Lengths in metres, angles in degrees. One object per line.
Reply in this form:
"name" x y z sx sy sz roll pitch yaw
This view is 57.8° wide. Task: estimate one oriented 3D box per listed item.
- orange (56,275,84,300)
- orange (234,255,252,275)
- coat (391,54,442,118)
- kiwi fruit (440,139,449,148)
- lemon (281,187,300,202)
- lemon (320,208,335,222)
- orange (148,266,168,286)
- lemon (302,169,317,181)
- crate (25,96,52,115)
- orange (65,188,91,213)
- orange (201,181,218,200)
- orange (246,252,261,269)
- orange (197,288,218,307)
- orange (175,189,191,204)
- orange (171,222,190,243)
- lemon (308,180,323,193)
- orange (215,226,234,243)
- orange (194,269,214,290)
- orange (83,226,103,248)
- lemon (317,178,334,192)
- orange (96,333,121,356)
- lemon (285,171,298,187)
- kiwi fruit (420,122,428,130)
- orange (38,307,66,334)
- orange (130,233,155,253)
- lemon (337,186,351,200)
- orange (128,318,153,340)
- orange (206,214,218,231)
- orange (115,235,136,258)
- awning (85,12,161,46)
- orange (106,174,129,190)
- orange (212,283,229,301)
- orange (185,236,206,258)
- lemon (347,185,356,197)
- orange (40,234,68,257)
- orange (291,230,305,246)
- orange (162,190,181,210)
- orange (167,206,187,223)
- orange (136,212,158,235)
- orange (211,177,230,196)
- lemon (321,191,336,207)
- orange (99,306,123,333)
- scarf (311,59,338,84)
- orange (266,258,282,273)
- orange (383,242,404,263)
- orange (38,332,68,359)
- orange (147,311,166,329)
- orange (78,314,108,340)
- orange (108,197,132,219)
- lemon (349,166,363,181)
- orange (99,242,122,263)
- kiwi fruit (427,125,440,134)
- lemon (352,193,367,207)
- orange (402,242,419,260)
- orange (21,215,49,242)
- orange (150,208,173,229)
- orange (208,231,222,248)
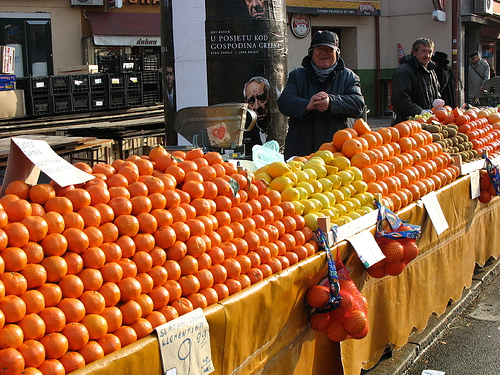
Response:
"orange" -0.705 0.391 1.791 0.074 0.113 0.084 -8 10 -14
"orange" -0.036 0.389 2.351 0.071 0.094 0.079 2 6 3
"coat" 2.233 -1.371 6.136 0.412 1.163 0.595 -3 16 -1
"kiwi fruit" 1.991 -0.456 4.629 0.067 0.046 0.078 4 10 1
"lemon" 0.255 0.044 2.881 0.085 0.089 0.073 -8 -5 7
"lemon" 0.505 0.163 2.947 0.058 0.070 0.080 -18 29 -24
"orange" -0.411 0.389 2.026 0.068 0.091 0.074 -2 1 0
"lemon" 0.420 -0.092 3.127 0.055 0.067 0.070 -17 14 -36
"crate" -4.099 -1.615 8.891 0.427 0.345 0.189 -10 11 -26
"orange" -0.754 0.048 2.000 0.084 0.103 0.089 -7 -15 -26
"orange" -0.217 0.012 2.421 0.069 0.099 0.081 0 7 2
"orange" 0.019 0.384 2.413 0.058 0.090 0.068 0 8 8
"orange" -0.199 0.503 2.141 0.061 0.094 0.072 -2 11 6
"orange" -0.343 0.044 2.319 0.059 0.039 0.066 27 9 17
"orange" -0.338 0.205 2.216 0.071 0.105 0.084 -7 -33 -16
"lemon" 0.445 -0.009 3.056 0.056 0.072 0.078 -7 11 -27
"orange" -0.127 0.240 2.369 0.065 0.088 0.074 1 9 -1
"orange" -0.217 0.433 2.166 0.069 0.092 0.076 1 2 -1
"orange" -0.659 0.205 1.918 0.064 0.094 0.069 -13 -4 -18
"lemon" 0.521 -0.020 3.125 0.088 0.088 0.069 -5 0 40
"orange" -0.559 0.616 1.797 0.059 0.072 0.069 -9 12 19
"lemon" 0.284 -0.056 3.002 0.061 0.076 0.081 -15 0 -34
"kiwi fruit" 1.807 -0.640 4.696 0.054 0.065 0.064 0 11 11
"orange" -0.752 0.516 1.739 0.082 0.124 0.097 -2 -8 13
"orange" -0.476 0.245 2.038 0.069 0.085 0.078 -2 -13 -11
"lemon" 0.665 0.041 3.199 0.062 0.081 0.083 -3 8 -42
"orange" -0.448 0.587 1.898 0.064 0.085 0.071 1 6 2
"orange" -0.195 0.180 2.347 0.055 0.075 0.062 -2 8 2
"orange" -0.548 0.248 2.014 0.074 0.109 0.081 -11 -18 -24
"awning" -4.464 -5.674 16.235 2.470 1.291 0.733 -11 12 -26
"orange" -0.636 -0.021 2.204 0.064 0.077 0.064 -10 0 -32
"orange" -0.146 0.493 2.197 0.058 0.091 0.068 2 12 4
"orange" -0.262 0.284 2.181 0.074 0.113 0.090 -1 -34 -10
"lemon" 0.735 0.026 3.258 0.049 0.051 0.072 -1 11 -2
"orange" -0.799 0.251 1.849 0.102 0.127 0.113 -7 -8 17
"orange" 0.289 0.293 2.708 0.064 0.100 0.075 0 7 7
"orange" -0.387 0.055 2.248 0.065 0.102 0.080 -6 15 1
"orange" -0.349 0.127 2.207 0.062 0.084 0.068 0 6 3
"orange" -0.473 0.160 2.081 0.082 0.093 0.081 -14 -17 -35
"orange" -0.154 -0.010 2.476 0.062 0.060 0.095 -2 19 -6
"lemon" 0.543 0.073 3.117 0.066 0.084 0.094 -18 5 -15
"orange" -0.572 0.549 1.876 0.083 0.127 0.095 -6 -6 7
"scarf" 0.763 -1.209 4.794 0.173 0.275 0.117 -1 9 2
"orange" 0.137 0.422 2.478 0.059 0.039 0.070 5 25 -1
"orange" 0.974 0.435 3.083 0.105 0.162 0.124 0 7 -1
"orange" -0.722 0.583 1.679 0.071 0.091 0.085 1 21 4
"orange" -0.404 0.560 1.944 0.051 0.067 0.056 -1 6 -3
"orange" -0.608 0.543 1.783 0.080 0.102 0.085 -1 -7 -15
"orange" -0.593 0.089 2.068 0.072 0.093 0.083 0 1 3
"lemon" 0.795 -0.107 3.358 0.071 0.089 0.097 -6 14 -39
"orange" -0.596 0.278 1.948 0.064 0.086 0.085 3 13 33
"kiwi fruit" 1.882 -0.600 4.654 0.086 0.065 0.073 -12 2 -12
"lemon" 0.790 0.089 3.241 0.080 0.066 0.072 4 8 17
"orange" 1.125 0.442 3.180 0.144 0.129 0.036 -10 11 -28
"orange" -0.860 0.168 1.821 0.082 0.096 0.056 -11 12 -32
"orange" -0.415 0.139 2.142 0.076 0.093 0.078 -12 -8 -29
"orange" -0.178 0.262 2.301 0.052 0.076 0.067 -1 45 0
